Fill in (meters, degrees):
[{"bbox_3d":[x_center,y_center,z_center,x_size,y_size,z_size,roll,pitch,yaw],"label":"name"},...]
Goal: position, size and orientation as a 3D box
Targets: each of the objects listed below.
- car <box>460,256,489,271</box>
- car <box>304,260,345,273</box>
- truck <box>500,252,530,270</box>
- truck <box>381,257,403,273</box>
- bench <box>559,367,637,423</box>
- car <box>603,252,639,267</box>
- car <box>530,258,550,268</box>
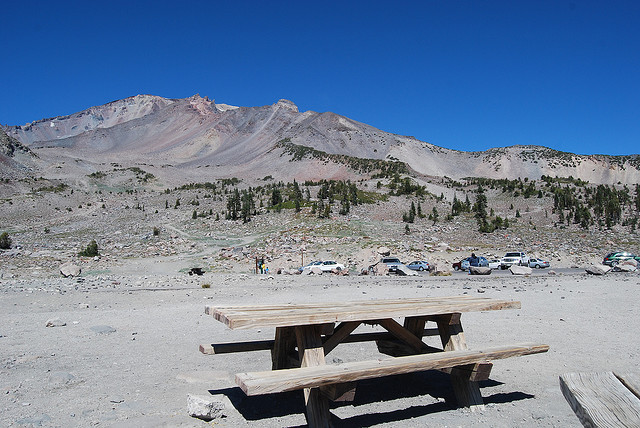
[{"bbox_3d":[12.309,4.001,35.320,2.151,0.863,1.264,0,-4,12],"label":"car"},{"bbox_3d":[0.547,3.734,31.656,2.190,0.581,0.904,-3,-3,-9],"label":"car"},{"bbox_3d":[15.747,3.810,36.083,1.477,0.892,2.353,-9,-12,42],"label":"truck"},{"bbox_3d":[5.082,3.630,31.551,1.230,0.859,2.474,-1,1,4],"label":"truck"},{"bbox_3d":[3.734,2.379,5.794,0.998,0.516,0.483,-1,1,-10],"label":"bench"},{"bbox_3d":[23.765,3.649,35.176,2.554,0.775,1.151,-3,-1,13],"label":"car"},{"bbox_3d":[18.677,4.210,38.132,1.733,0.652,1.018,-2,1,-40],"label":"car"}]
